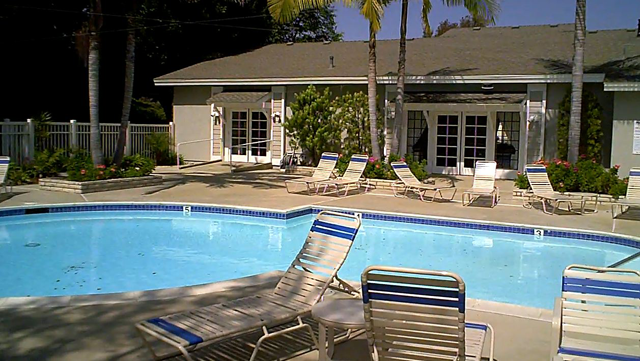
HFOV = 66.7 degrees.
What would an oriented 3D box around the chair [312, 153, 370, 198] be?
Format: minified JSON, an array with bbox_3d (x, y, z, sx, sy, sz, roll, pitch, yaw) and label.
[{"bbox_3d":[0.947,-0.242,18.862,1.779,1.481,2.427,3,4,12],"label":"chair"}]

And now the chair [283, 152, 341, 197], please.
[{"bbox_3d":[-0.327,-0.243,18.764,1.233,1.546,2.597,4,6,35],"label":"chair"}]

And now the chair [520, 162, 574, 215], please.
[{"bbox_3d":[7.748,0.257,16.486,1.423,1.532,2.446,3,4,15],"label":"chair"}]

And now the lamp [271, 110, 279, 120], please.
[{"bbox_3d":[-2.249,-3.290,24.739,0.459,0.410,0.148,6,2,4],"label":"lamp"}]

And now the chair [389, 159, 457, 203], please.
[{"bbox_3d":[3.666,0.009,18.101,1.348,1.171,2.576,-6,9,-39],"label":"chair"}]

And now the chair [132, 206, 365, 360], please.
[{"bbox_3d":[-0.961,1.770,8.650,3.420,2.305,1.480,-1,5,-41],"label":"chair"}]

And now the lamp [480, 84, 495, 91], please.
[{"bbox_3d":[7.450,-4.106,21.534,0.588,0.253,0.343,3,4,19],"label":"lamp"}]
